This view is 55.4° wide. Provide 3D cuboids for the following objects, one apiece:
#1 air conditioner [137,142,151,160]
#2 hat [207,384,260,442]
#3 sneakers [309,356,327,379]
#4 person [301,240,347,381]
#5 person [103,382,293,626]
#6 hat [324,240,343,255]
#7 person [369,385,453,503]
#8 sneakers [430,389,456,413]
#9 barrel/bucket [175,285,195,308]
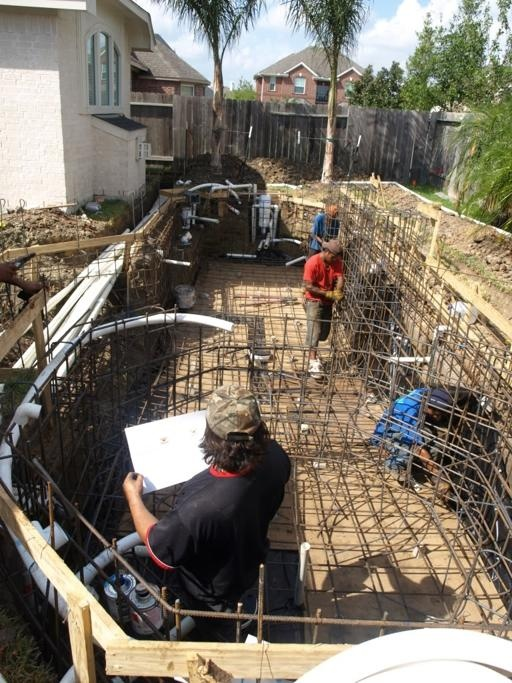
[{"bbox_3d":[-2.645,-4.485,11.500,0.263,0.351,0.556,0,23,-9],"label":"air conditioner"},{"bbox_3d":[-0.092,0.284,2.066,0.229,0.128,0.334,0,24,-8],"label":"hat"},{"bbox_3d":[0.770,0.345,6.244,0.224,0.317,0.103,-7,-12,21],"label":"sneakers"},{"bbox_3d":[0.877,-0.486,6.519,0.539,1.666,1.498,7,23,9],"label":"person"},{"bbox_3d":[-0.180,0.806,2.180,0.733,1.185,0.389,-3,23,-15],"label":"person"},{"bbox_3d":[1.027,-1.234,6.392,0.172,0.243,0.198,-21,8,-22],"label":"hat"},{"bbox_3d":[1.496,0.826,4.474,0.824,0.760,0.896,2,20,10],"label":"person"},{"bbox_3d":[1.648,0.483,4.278,0.230,0.095,0.318,11,34,14],"label":"sneakers"},{"bbox_3d":[-1.271,-0.761,8.734,0.329,0.414,0.414,-1,23,-10],"label":"barrel/bucket"}]
